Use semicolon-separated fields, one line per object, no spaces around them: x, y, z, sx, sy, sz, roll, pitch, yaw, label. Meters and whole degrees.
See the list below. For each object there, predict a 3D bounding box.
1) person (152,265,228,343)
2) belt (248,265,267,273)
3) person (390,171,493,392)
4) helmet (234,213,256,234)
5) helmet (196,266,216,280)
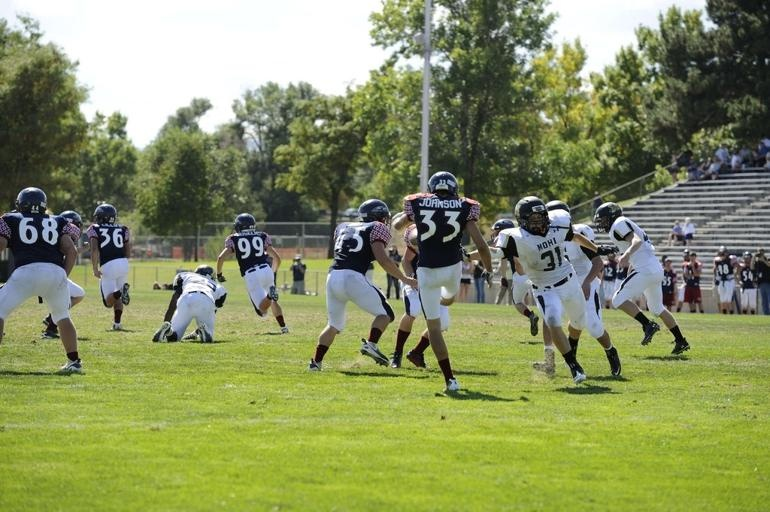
-3.953;0.957;21.389;0.936;0.955;2.025;15;14;-9;person
-2.722;0.272;21.869;0.234;0.054;0.231;-26;-6;25;belt
0.957;0.370;16.907;1.357;3.422;0.921;10;12;33;person
-3.008;-0.733;22.210;0.446;0.440;0.485;-4;14;-22;helmet
-3.828;0.358;21.668;0.284;0.293;0.374;15;13;37;helmet
